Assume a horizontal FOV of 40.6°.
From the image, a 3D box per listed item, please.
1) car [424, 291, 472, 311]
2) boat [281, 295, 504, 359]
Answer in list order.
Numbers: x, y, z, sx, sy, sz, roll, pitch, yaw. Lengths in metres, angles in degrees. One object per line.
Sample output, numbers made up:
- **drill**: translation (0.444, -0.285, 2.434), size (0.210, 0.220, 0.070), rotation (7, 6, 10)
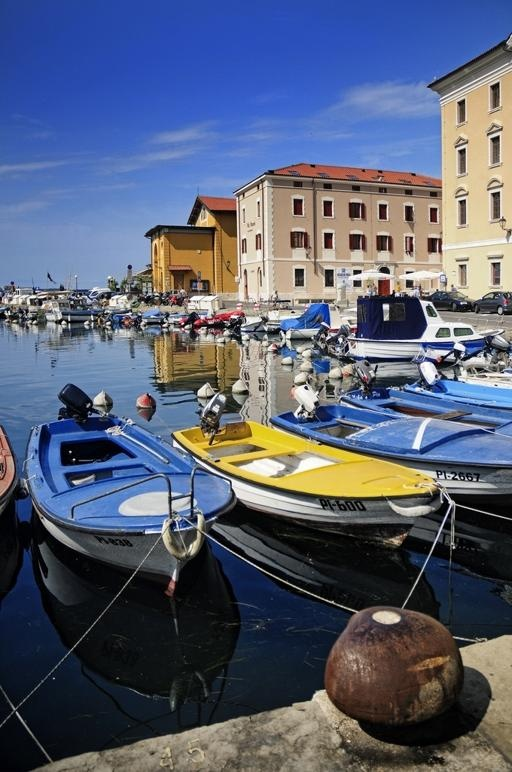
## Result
- **car**: translation (10.243, -4.369, 36.273), size (1.124, 0.730, 2.316), rotation (-2, 4, -13)
- **boat**: translation (4.777, -1.926, 22.984), size (6.838, 2.233, 1.960), rotation (-1, 13, 1)
